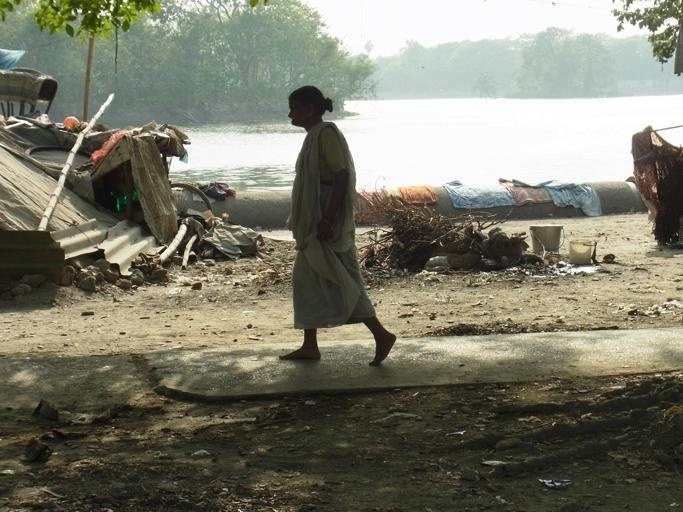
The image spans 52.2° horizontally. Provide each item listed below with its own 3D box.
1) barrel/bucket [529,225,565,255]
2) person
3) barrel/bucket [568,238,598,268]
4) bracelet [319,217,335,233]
[{"bbox_3d":[2.982,-0.239,10.204,0.585,0.298,0.477,0,-4,1],"label":"barrel/bucket"},{"bbox_3d":[-0.114,-0.192,4.802,0.698,1.941,0.783,-10,18,-29],"label":"person"},{"bbox_3d":[3.262,-0.068,9.437,0.335,0.319,0.449,3,14,15],"label":"barrel/bucket"},{"bbox_3d":[-0.075,-0.201,4.688,0.049,0.112,0.092,34,-21,-17],"label":"bracelet"}]
